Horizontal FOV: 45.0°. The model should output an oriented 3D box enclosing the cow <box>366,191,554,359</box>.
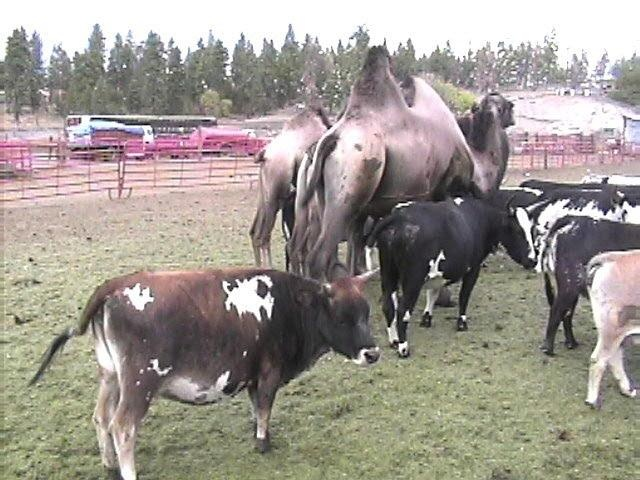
[{"bbox_3d":[1.630,0.307,9.186,2.370,1.723,0.737,-7,9,-37],"label":"cow"}]
